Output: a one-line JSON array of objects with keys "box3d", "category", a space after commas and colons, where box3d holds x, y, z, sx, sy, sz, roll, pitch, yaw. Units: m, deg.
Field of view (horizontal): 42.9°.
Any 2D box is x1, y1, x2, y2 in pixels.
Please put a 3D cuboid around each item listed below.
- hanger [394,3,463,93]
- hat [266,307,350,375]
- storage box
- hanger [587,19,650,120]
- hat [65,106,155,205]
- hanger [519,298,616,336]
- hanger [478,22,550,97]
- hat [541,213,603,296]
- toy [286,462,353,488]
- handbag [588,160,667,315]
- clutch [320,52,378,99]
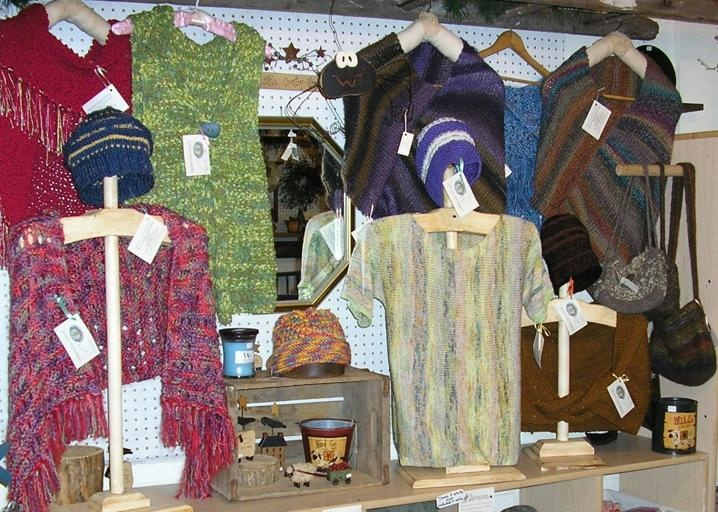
[{"box3d": [0.235, -0.714, 3.173, 0.215, 0.069, 0.225, -3, -47, -9], "category": "hanger"}, {"box3d": [-0.155, 0.272, 2.895, 0.191, 0.177, 0.224, -5, 8, -23], "category": "hat"}, {"box3d": [-0.178, 0.446, 2.999, 0.603, 0.421, 0.351, 2, -8, -24], "category": "storage box"}, {"box3d": [0.933, -0.688, 3.321, 0.261, 0.234, 0.127, 2, -8, -40], "category": "hanger"}, {"box3d": [-0.753, -0.298, 2.747, 0.258, 0.273, 0.227, -2, -7, -14], "category": "hat"}, {"box3d": [0.738, 0.211, 3.265, 0.413, 0.107, 0.182, 1, -8, -33], "category": "hanger"}, {"box3d": [0.557, -0.720, 3.365, 0.286, 0.122, 0.013, 4, -1, -31], "category": "hanger"}, {"box3d": [0.732, -0.003, 3.183, 0.168, 0.238, 0.131, -23, -22, -2], "category": "hat"}, {"box3d": [-0.124, 0.693, 2.915, 0.226, 0.090, 0.081, 2, -4, -11], "category": "toy"}, {"box3d": [0.976, -0.050, 3.311, 0.275, 0.515, 0.141, -2, -6, -12], "category": "handbag"}, {"box3d": [-0.042, -0.604, 3.091, 0.195, 0.141, 0.078, -3, -6, -8], "category": "clutch"}]
